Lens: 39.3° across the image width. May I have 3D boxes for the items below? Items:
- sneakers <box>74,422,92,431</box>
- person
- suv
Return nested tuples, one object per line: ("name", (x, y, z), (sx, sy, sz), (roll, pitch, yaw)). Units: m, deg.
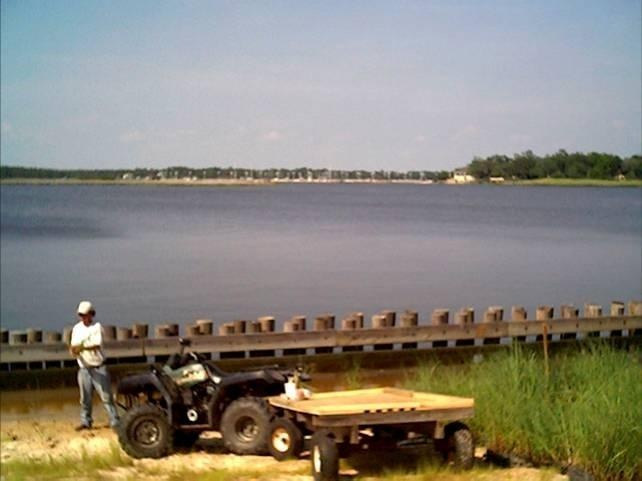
("sneakers", (-4.644, 3.676, 17.675), (0.226, 0.098, 0.083), (-31, -45, 17))
("person", (-4.307, 2.415, 17.016), (0.772, 2.296, 1.280), (-2, 1, -24))
("suv", (-1.986, 2.969, 16.997), (3.188, 2.201, 1.899), (2, -5, 0))
